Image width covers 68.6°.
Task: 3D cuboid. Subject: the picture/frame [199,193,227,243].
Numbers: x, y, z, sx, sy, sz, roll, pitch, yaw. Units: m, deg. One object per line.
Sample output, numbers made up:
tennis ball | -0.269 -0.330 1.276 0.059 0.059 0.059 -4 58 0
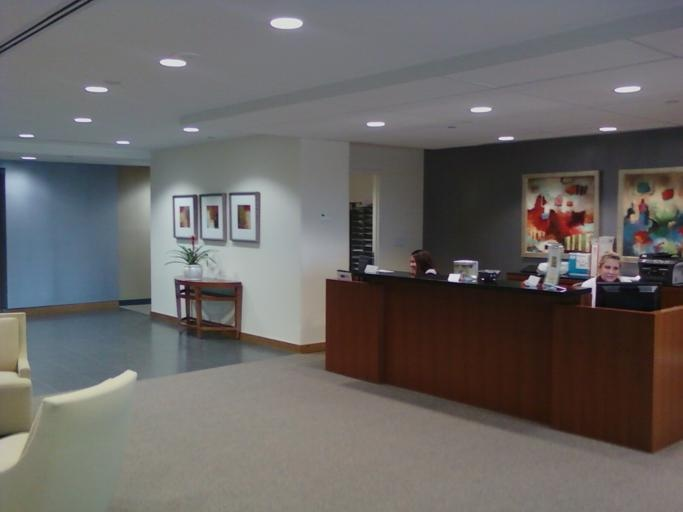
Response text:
picture/frame | -2.151 -0.666 8.436 0.772 0.988 0.070 3 4 45

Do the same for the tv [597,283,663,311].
tv | 2.513 0.353 4.365 0.388 0.284 0.096 3 4 17

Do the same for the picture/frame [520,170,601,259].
picture/frame | 3.321 -0.635 7.473 0.056 1.598 1.262 1 0 -44

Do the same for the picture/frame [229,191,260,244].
picture/frame | -1.508 -0.621 7.880 0.746 0.891 0.059 3 5 44

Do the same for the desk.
desk | -2.455 0.860 8.519 1.585 0.938 0.612 3 2 43

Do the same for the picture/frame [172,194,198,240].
picture/frame | -2.783 -0.716 8.947 0.757 0.936 0.091 2 2 43
